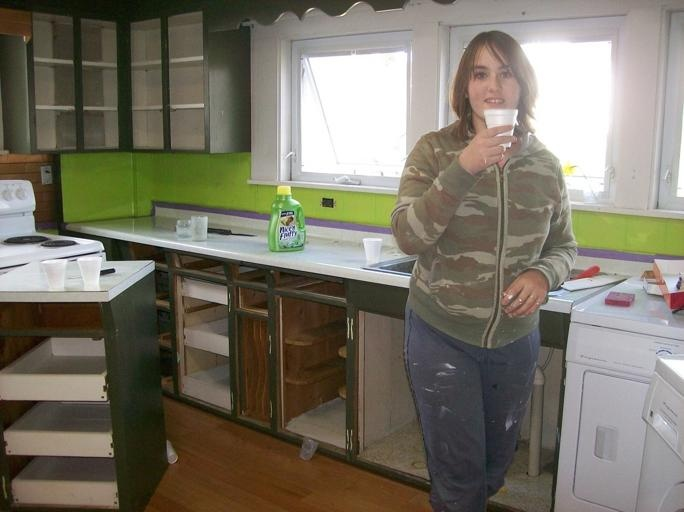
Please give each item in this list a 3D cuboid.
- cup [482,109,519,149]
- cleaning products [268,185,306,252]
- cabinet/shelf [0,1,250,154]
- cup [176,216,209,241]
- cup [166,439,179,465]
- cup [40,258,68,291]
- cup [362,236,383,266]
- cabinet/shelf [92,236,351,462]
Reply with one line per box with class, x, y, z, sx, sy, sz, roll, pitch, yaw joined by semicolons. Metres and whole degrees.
cup;0.432;-0.355;1.548;0.102;0.116;0.104;-1;7;0
cleaning products;-0.330;-0.216;3.215;0.214;0.371;0.132;-4;11;-9
cabinet/shelf;-1.447;-1.289;3.887;1.436;1.118;0.718;2;12;18
cup;-1.000;-0.182;3.520;0.239;0.168;0.130;7;11;35
cup;-0.923;1.076;2.981;0.055;0.052;0.145;-13;57;-18
cup;-1.195;0.072;2.288;0.077;0.118;0.132;-9;13;-31
cup;0.144;-0.037;2.989;0.128;0.134;0.130;1;15;0
cabinet/shelf;-0.618;0.532;3.043;1.117;0.673;0.405;7;9;33
